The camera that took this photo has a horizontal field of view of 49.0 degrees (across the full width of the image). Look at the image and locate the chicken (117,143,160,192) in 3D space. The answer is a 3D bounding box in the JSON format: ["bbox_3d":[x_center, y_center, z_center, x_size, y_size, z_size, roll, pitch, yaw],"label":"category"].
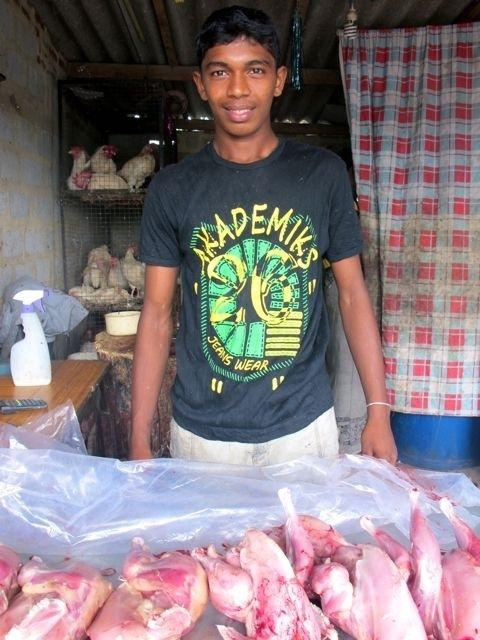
[{"bbox_3d":[-0.770,-1.154,4.008,0.335,0.409,0.271,-1,15,-7],"label":"chicken"}]

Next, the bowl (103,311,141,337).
[{"bbox_3d":[-0.661,0.015,2.922,0.244,0.150,0.232,0,1,0],"label":"bowl"}]

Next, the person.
[{"bbox_3d":[0.023,-0.155,1.175,0.570,1.011,0.279,-3,9,-9],"label":"person"}]

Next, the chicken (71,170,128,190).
[{"bbox_3d":[-1.051,-1.008,3.827,0.305,0.086,0.176,-3,27,-17],"label":"chicken"}]

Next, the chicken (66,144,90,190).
[{"bbox_3d":[-1.158,-1.071,3.765,0.165,0.298,0.174,-4,9,-14],"label":"chicken"}]

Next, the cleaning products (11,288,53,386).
[{"bbox_3d":[-0.709,0.063,1.808,0.153,0.322,0.081,3,8,15],"label":"cleaning products"}]
